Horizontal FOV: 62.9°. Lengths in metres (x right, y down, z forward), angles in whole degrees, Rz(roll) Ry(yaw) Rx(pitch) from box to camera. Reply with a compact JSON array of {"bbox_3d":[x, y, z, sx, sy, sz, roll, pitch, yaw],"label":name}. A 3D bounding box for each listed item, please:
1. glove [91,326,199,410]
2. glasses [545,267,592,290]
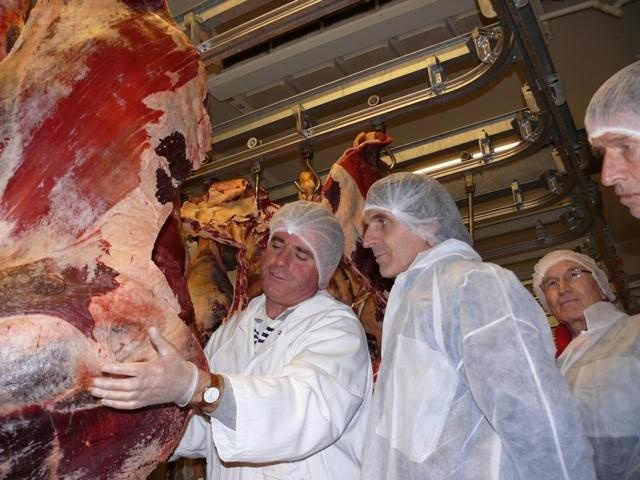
[{"bbox_3d":[-0.568,0.409,1.659,0.085,0.227,0.272,7,11,27],"label":"glove"},{"bbox_3d":[1.622,0.254,3.462,0.160,0.056,0.158,27,-39,-24],"label":"glasses"}]
